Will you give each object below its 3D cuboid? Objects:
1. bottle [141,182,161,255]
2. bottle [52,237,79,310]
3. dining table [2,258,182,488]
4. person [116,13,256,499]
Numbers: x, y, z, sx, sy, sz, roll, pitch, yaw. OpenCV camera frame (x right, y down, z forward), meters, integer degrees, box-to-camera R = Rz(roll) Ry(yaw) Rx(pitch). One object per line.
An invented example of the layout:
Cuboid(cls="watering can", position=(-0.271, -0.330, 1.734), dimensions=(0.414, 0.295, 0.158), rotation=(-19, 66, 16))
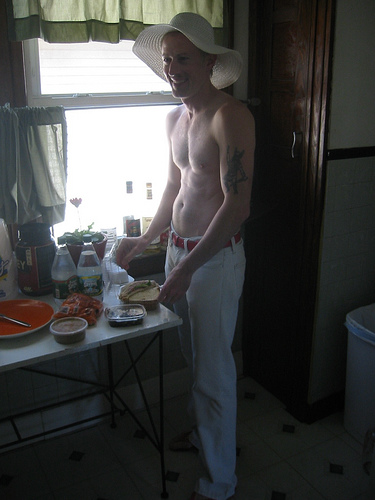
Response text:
Cuboid(cls="bottle", position=(-0.179, -0.151, 1.888), dimensions=(0.085, 0.323, 0.139), rotation=(-4, 19, -3))
Cuboid(cls="bottle", position=(-0.407, 0.066, 1.330), dimensions=(0.083, 0.194, 0.263), rotation=(-10, 22, -19))
Cuboid(cls="dining table", position=(-0.389, 0.492, 1.552), dimensions=(0.591, 0.650, 0.518), rotation=(-11, 16, -40))
Cuboid(cls="person", position=(0.029, 0.095, 1.475), dimensions=(0.509, 1.697, 0.593), rotation=(-10, 20, -20))
